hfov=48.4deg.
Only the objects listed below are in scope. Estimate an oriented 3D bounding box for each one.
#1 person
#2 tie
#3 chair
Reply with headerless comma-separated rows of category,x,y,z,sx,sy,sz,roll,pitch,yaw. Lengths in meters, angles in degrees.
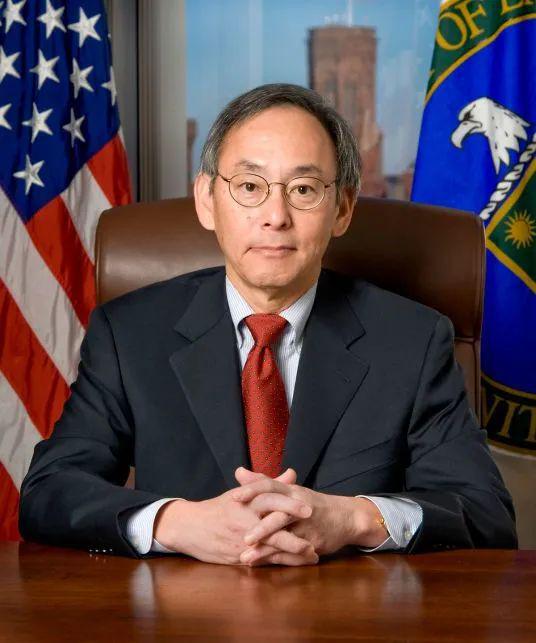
person,-0.001,-0.064,1.210,0.887,0.978,0.646,-3,-9,22
tie,-0.004,0.143,1.235,0.095,0.337,0.122,1,-8,-2
chair,0.017,-0.001,1.924,0.791,1.073,0.670,0,-9,2
